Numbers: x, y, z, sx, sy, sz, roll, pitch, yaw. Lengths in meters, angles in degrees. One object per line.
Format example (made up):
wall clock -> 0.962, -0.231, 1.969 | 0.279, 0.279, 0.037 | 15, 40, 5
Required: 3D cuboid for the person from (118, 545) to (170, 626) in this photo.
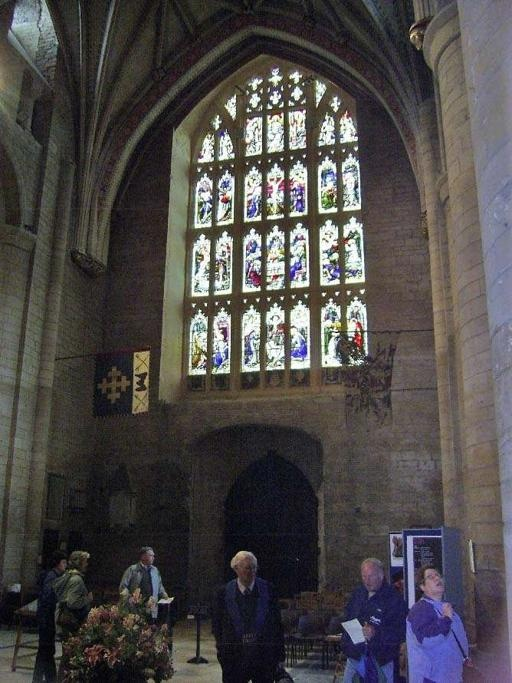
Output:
person -> -1.195, 2.726, 6.597 | 0.449, 1.095, 0.261 | 2, 5, -23
